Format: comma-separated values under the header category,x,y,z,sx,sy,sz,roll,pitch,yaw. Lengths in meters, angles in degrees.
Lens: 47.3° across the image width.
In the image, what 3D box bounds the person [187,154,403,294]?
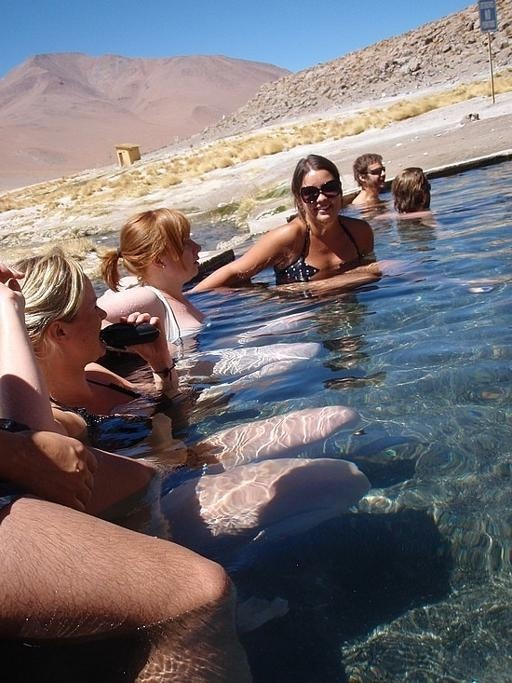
category,x,y,z,sx,sy,sz,roll,pitch,yaw
person,0.552,-0.928,5.160,2.404,1.221,0.734,1,15,18

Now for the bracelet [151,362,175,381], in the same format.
category,x,y,z,sx,sy,sz,roll,pitch,yaw
bracelet,-0.473,0.148,3.000,0.130,0.050,0.138,-2,0,-16
